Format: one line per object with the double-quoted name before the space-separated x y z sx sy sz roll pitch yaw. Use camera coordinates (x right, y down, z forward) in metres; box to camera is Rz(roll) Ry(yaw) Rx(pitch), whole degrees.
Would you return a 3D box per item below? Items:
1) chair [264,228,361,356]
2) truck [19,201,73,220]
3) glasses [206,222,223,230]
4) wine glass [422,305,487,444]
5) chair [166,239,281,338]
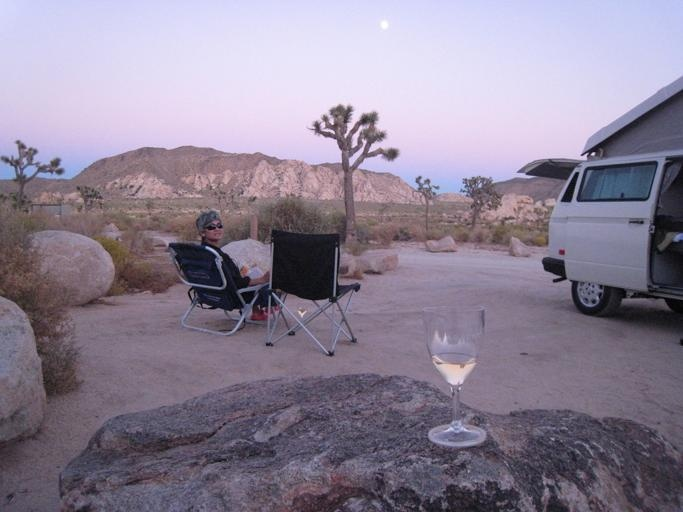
"chair" -0.330 0.398 6.320 0.957 1.456 0.899 6 8 24
"truck" -14.823 -2.341 26.142 1.699 0.530 10.399 -5 11 -33
"glasses" -1.568 -0.373 6.400 0.082 0.076 0.246 8 11 38
"wine glass" 0.465 0.475 2.082 0.257 0.478 0.331 2 9 8
"chair" -1.536 0.426 6.815 1.006 1.046 1.484 4 0 24
